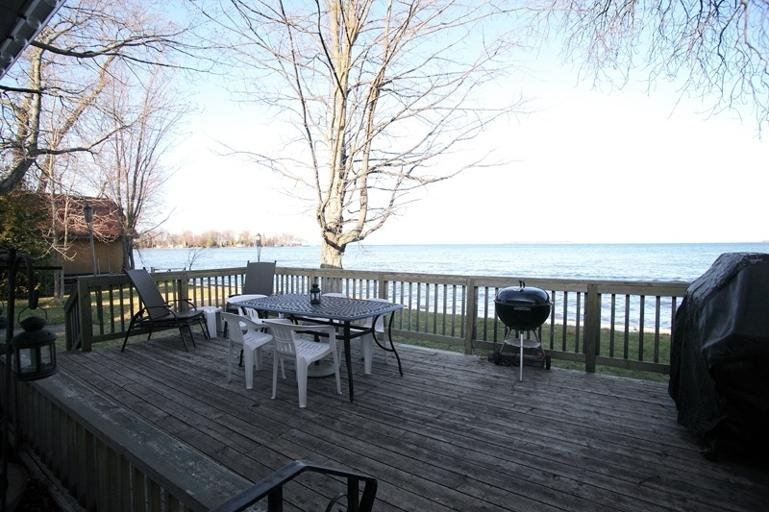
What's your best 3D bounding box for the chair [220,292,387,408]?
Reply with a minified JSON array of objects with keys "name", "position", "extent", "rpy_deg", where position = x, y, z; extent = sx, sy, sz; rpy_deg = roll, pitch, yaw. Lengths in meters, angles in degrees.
[{"name":"chair","position":[-0.882,1.213,6.710],"extent":[2.101,1.238,1.227],"rpy_deg":[-1,1,26]}]
